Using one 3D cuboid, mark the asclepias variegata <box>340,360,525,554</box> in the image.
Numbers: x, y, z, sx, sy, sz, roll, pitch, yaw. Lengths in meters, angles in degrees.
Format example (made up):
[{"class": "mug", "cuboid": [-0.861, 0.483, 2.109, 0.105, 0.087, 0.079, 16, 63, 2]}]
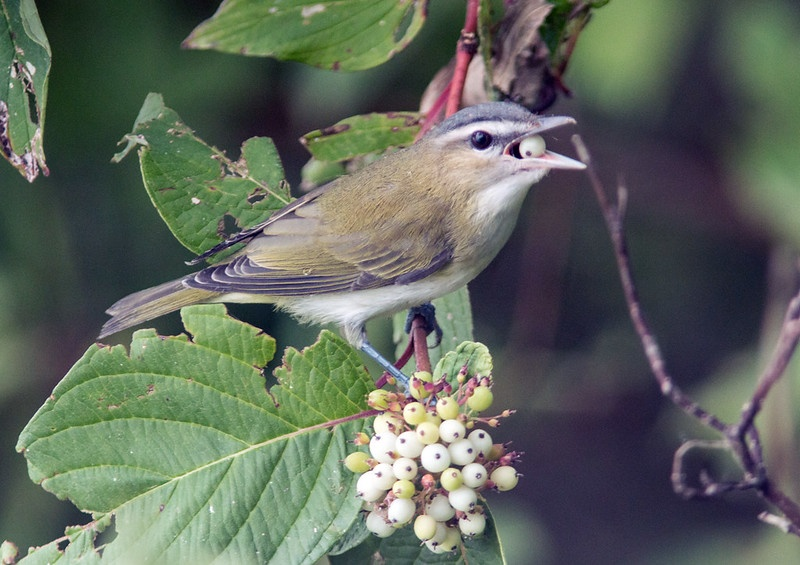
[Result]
[{"class": "asclepias variegata", "cuboid": [0.131, 0.776, 4.280, 0.662, 0.692, 0.541, -14, 37, -19]}]
